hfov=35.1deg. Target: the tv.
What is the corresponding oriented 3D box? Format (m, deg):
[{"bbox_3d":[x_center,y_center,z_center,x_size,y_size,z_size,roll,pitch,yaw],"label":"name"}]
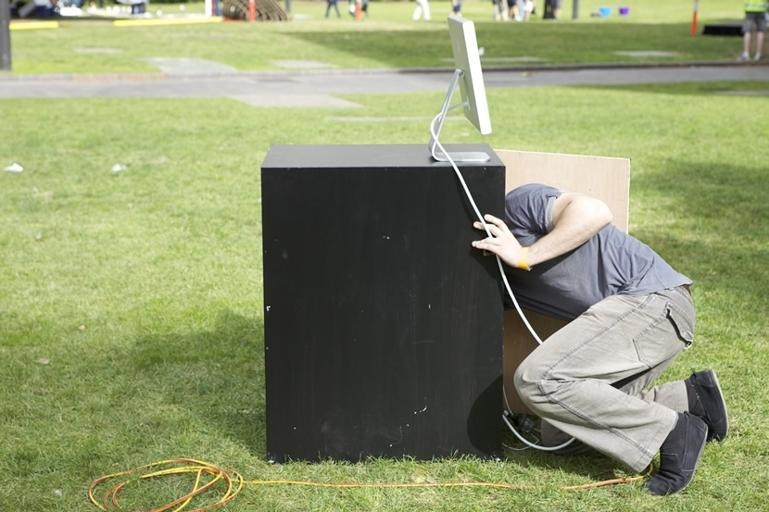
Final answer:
[{"bbox_3d":[0.542,-1.201,8.673,0.436,0.992,0.561,1,15,2],"label":"tv"}]
